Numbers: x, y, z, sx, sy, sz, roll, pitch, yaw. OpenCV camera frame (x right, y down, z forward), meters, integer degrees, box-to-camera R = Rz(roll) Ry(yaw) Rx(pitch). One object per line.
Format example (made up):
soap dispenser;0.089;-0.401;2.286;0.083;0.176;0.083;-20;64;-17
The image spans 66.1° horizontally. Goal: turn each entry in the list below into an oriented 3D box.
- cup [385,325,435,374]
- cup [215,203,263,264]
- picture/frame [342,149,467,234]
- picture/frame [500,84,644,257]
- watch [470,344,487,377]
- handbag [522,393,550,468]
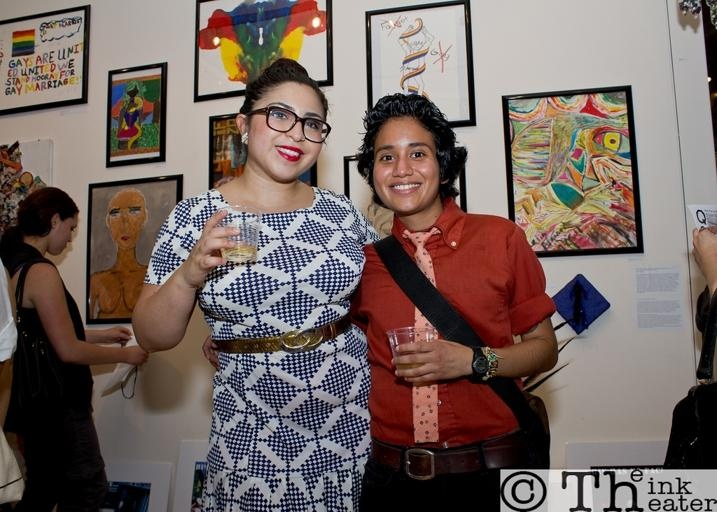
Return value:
cup;0.205;0.361;2.104;0.149;0.123;0.159;-2;-12;0
cup;-0.437;-0.061;2.142;0.190;0.216;0.181;-1;-16;0
picture/frame;0.232;-0.287;2.544;0.490;0.597;0.020;-2;-8;12
picture/frame;1.341;-0.494;3.356;0.925;1.318;0.052;-3;-2;11
watch;0.470;0.414;2.141;0.066;0.114;0.026;-1;-2;-18
handbag;0.718;0.705;2.239;0.082;0.270;0.184;3;-4;4
